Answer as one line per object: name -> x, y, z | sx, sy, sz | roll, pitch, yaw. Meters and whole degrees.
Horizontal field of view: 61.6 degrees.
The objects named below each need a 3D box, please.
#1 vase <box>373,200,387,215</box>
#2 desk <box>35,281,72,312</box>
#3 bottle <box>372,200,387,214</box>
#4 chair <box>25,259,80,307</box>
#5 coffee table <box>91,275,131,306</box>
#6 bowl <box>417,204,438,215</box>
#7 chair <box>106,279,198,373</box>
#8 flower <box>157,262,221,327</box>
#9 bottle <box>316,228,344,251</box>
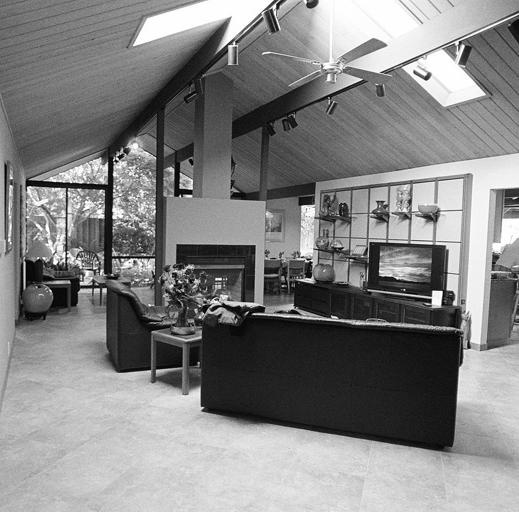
vase -> 2.057, -0.830, 7.442 | 0.248, 0.258, 0.253 | 0, -8, -1
desk -> -3.709, 0.712, 7.927 | 0.507, 0.515, 0.520 | 0, -1, -7
bottle -> 2.062, -0.843, 7.442 | 0.242, 0.243, 0.266 | 2, -1, 18
chair -> -4.064, 0.552, 8.672 | 0.839, 0.973, 1.116 | -6, 2, -31
coffee table -> -2.302, 0.521, 6.685 | 0.376, 0.366, 0.579 | 2, 0, -25
bowl -> 2.523, -0.705, 6.503 | 0.285, 0.166, 0.231 | 1, -1, 24
chair -> -1.390, 0.651, 4.847 | 0.653, 0.565, 0.789 | 5, 3, -44
flower -> -0.815, 0.410, 4.855 | 0.675, 0.793, 0.582 | -1, 2, 0
bottle -> 1.435, -0.293, 8.679 | 0.587, 0.439, 0.317 | -3, -3, 44
